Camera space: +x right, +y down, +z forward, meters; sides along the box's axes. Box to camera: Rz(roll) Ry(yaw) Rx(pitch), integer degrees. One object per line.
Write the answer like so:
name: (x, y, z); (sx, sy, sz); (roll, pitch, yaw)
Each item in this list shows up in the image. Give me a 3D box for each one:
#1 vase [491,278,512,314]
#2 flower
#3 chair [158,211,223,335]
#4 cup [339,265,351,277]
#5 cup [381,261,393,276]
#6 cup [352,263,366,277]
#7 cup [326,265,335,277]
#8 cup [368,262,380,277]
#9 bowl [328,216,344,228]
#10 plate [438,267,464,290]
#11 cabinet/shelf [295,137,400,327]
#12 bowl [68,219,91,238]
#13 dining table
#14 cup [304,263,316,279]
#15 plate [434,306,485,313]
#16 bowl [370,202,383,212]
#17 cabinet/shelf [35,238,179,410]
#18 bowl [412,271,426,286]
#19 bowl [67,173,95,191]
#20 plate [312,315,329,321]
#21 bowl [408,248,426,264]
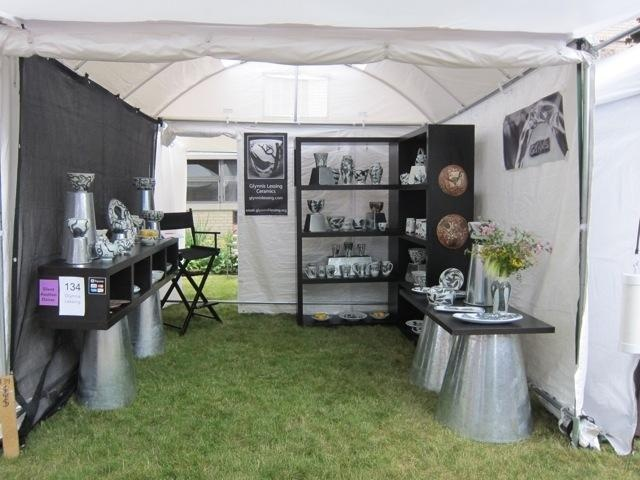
vase: (1.362, 0.415, 3.631); (0.146, 0.262, 0.148); (3, 3, 42)
flower: (1.457, 0.084, 3.631); (0.441, 0.333, 0.456); (0, 4, -21)
chair: (-1.540, 0.328, 5.646); (0.771, 1.310, 0.675); (7, 9, 36)
cup: (0.309, 0.369, 5.721); (0.118, 0.139, 0.123); (1, -1, 0)
cup: (0.794, 0.342, 5.698); (0.167, 0.188, 0.121); (1, 1, 11)
cup: (0.475, 0.358, 5.710); (0.160, 0.170, 0.110); (0, 3, -5)
cup: (0.126, 0.371, 5.715); (0.114, 0.159, 0.120); (0, -4, 0)
cup: (0.652, 0.346, 5.698); (0.132, 0.177, 0.079); (-1, 8, -6)
bowl: (0.194, -0.199, 5.625); (0.136, 0.118, 0.144); (0, -3, 0)
plate: (1.170, 0.341, 4.238); (0.205, 0.147, 0.238); (8, 12, 42)
cabinet/shelf: (0.393, -0.171, 6.210); (1.218, 2.336, 0.707); (-1, 21, 3)
bowl: (-1.698, -0.078, 3.412); (0.114, 0.120, 0.132); (1, -6, -4)
dining table: (1.203, 0.872, 3.740); (0.624, 0.877, 1.202); (-4, 12, 2)
cup: (-0.108, 0.378, 5.780); (0.142, 0.178, 0.251); (-1, 9, -8)
plate: (1.082, 0.532, 3.695); (0.215, 0.027, 0.133); (-1, 0, 4)
bowl: (0.673, -0.420, 5.811); (0.140, 0.116, 0.149); (-1, -3, 0)
cabinet/shelf: (-1.736, 0.630, 4.256); (0.513, 1.097, 1.924); (2, 7, -3)
bowl: (1.034, 0.392, 4.987); (0.138, 0.066, 0.157); (0, 2, 9)
bowl: (-1.771, -0.431, 3.550); (0.155, 0.130, 0.147); (0, 9, 0)
plate: (0.023, 0.947, 5.881); (0.202, 0.049, 0.226); (0, 9, -4)
bowl: (1.083, 0.173, 5.369); (0.151, 0.118, 0.159); (0, -3, 0)
